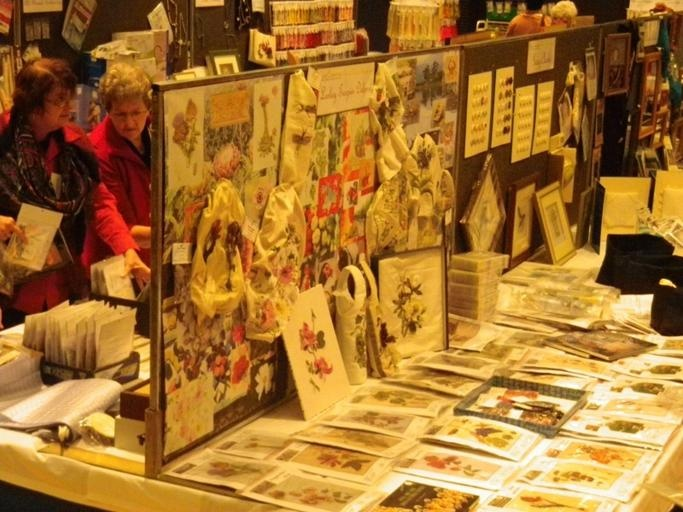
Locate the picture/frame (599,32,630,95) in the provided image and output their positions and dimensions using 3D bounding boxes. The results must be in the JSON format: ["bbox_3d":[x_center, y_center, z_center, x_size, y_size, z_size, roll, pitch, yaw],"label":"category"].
[{"bbox_3d":[2.382,-1.691,5.180,0.058,0.616,0.487,6,16,38],"label":"picture/frame"}]

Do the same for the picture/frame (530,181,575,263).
[{"bbox_3d":[1.516,-0.229,4.288,0.038,0.547,0.457,-8,16,36],"label":"picture/frame"}]

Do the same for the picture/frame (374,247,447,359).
[{"bbox_3d":[0.297,0.212,2.666,0.434,0.559,0.045,-6,4,-37],"label":"picture/frame"}]

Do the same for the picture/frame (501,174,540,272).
[{"bbox_3d":[1.218,-0.231,4.050,0.045,0.639,0.530,9,19,30],"label":"picture/frame"}]

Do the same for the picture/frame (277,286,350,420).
[{"bbox_3d":[-0.116,0.381,2.241,0.030,0.424,0.357,-9,15,26],"label":"picture/frame"}]

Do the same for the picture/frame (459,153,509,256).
[{"bbox_3d":[0.857,-0.314,3.606,0.061,0.510,0.494,21,39,36],"label":"picture/frame"}]

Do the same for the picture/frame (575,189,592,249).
[{"bbox_3d":[1.826,-0.257,4.443,0.044,0.399,0.338,9,32,29],"label":"picture/frame"}]
